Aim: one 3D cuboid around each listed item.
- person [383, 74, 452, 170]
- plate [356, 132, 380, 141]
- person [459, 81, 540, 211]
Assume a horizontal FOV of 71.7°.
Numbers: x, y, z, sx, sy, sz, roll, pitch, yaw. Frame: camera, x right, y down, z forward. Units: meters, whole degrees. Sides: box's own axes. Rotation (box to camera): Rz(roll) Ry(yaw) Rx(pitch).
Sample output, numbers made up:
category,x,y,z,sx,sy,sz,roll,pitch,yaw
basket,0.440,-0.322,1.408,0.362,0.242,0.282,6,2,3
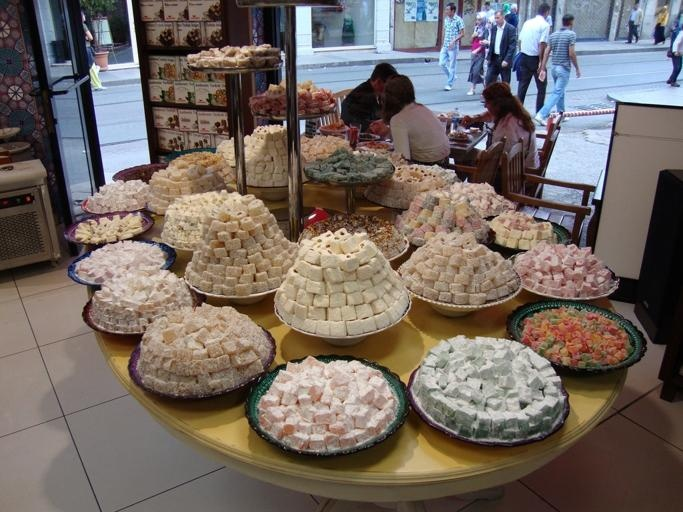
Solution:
category,x,y,z,sx,sy,sz,roll,pitch,yaw
person,0.624,-1.226,4.300,0.497,0.774,0.571,-1,25,34
plate,0.269,-1.136,4.508,0.163,0.061,0.163,-11,43,-19
person,1.590,-1.051,4.973,0.905,1.385,0.613,14,29,32
